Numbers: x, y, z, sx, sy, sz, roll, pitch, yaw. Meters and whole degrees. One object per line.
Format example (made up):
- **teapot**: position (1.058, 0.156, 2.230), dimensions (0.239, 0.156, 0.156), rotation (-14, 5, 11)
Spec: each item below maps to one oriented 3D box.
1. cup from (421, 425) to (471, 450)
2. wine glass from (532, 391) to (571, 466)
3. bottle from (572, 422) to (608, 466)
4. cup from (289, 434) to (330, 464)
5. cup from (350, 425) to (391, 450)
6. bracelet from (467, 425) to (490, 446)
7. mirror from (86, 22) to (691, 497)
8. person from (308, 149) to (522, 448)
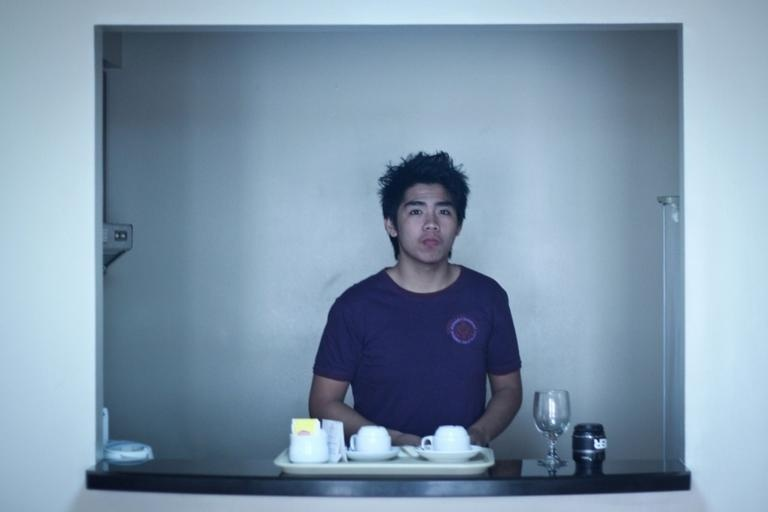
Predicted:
- **cup**: position (0.257, 0.753, 2.799), dimensions (0.161, 0.100, 0.122), rotation (-7, -8, 24)
- **wine glass**: position (0.724, 0.729, 2.884), dimensions (0.141, 0.219, 0.207), rotation (2, 1, 14)
- **bottle**: position (0.892, 0.801, 2.917), dimensions (0.163, 0.216, 0.167), rotation (-2, 0, 0)
- **cup**: position (-0.309, 0.781, 2.738), dimensions (0.127, 0.090, 0.127), rotation (0, -14, 0)
- **cup**: position (-0.053, 0.757, 2.797), dimensions (0.133, 0.091, 0.104), rotation (-4, -4, 11)
- **bracelet**: position (0.443, 0.836, 3.090), dimensions (0.086, 0.110, 0.112), rotation (-1, -2, -13)
- **mirror**: position (0.081, -0.011, 5.181), dimensions (4.483, 3.519, 1.521), rotation (-1, -1, 9)
- **person**: position (0.188, 0.167, 3.367), dimensions (1.015, 1.439, 0.662), rotation (2, 1, 12)
